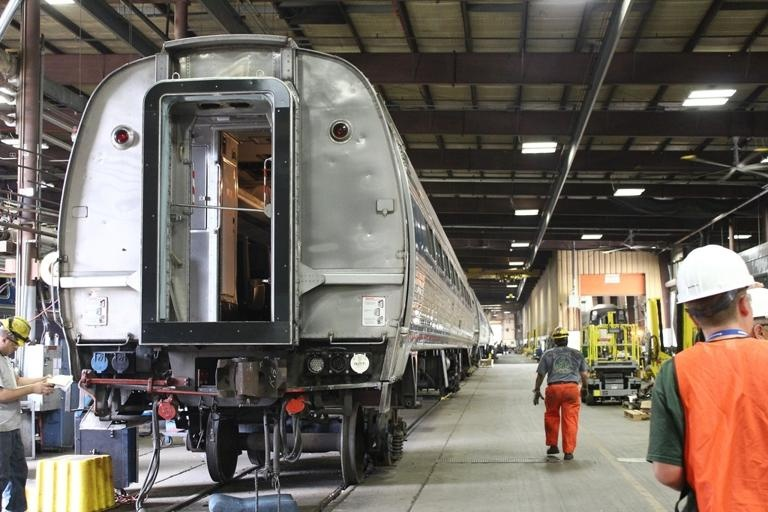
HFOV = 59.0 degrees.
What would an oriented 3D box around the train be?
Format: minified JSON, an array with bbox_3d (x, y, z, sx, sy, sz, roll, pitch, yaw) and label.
[{"bbox_3d":[-1.731,0.232,9.135,4.846,5.799,3.109,3,-11,-26],"label":"train"}]

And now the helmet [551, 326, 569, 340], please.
[{"bbox_3d":[2.985,1.331,11.822,0.228,0.154,0.323,-3,-13,3],"label":"helmet"}]

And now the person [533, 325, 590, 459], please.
[{"bbox_3d":[2.991,2.324,11.668,0.896,2.233,1.513,-4,-10,13],"label":"person"}]
